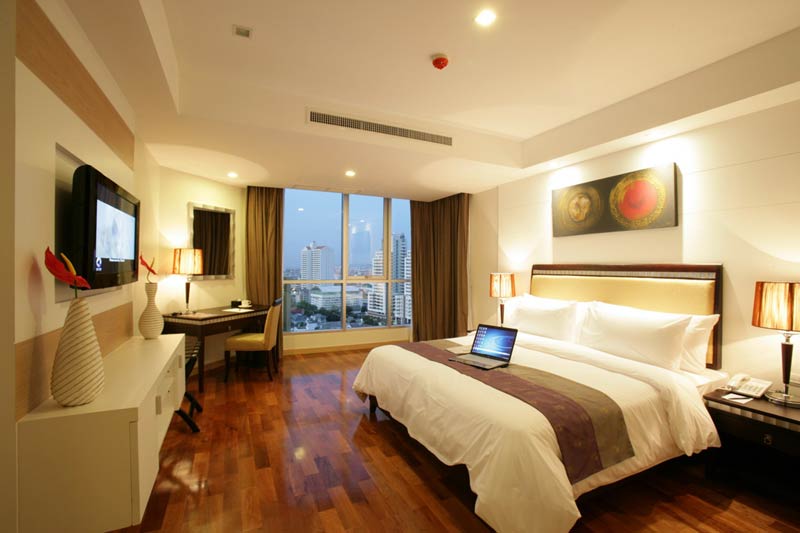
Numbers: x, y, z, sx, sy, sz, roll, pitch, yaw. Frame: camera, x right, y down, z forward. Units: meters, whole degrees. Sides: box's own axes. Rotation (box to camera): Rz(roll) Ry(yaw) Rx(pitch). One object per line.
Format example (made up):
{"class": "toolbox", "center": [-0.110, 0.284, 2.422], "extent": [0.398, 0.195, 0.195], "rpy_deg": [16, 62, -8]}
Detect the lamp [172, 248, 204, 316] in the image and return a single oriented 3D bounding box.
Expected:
{"class": "lamp", "center": [-2.522, 0.195, 6.101], "extent": [0.293, 0.741, 0.330], "rpy_deg": [-9, -11, -4]}

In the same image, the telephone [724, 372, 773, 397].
{"class": "telephone", "center": [2.860, 0.942, 4.251], "extent": [0.189, 0.071, 0.231], "rpy_deg": [-13, 4, -8]}

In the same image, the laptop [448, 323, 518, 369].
{"class": "laptop", "center": [0.753, 0.720, 4.733], "extent": [0.533, 0.318, 0.592], "rpy_deg": [-1, 3, -25]}

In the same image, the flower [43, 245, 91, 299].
{"class": "flower", "center": [-2.312, 0.051, 3.599], "extent": [0.217, 0.431, 0.394], "rpy_deg": [-4, 14, -16]}

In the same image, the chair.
{"class": "chair", "center": [-1.781, 0.858, 6.288], "extent": [0.684, 0.922, 0.657], "rpy_deg": [2, 1, 9]}

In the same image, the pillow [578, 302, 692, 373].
{"class": "pillow", "center": [2.131, 0.643, 4.806], "extent": [0.925, 0.562, 0.295], "rpy_deg": [13, 1, 45]}
